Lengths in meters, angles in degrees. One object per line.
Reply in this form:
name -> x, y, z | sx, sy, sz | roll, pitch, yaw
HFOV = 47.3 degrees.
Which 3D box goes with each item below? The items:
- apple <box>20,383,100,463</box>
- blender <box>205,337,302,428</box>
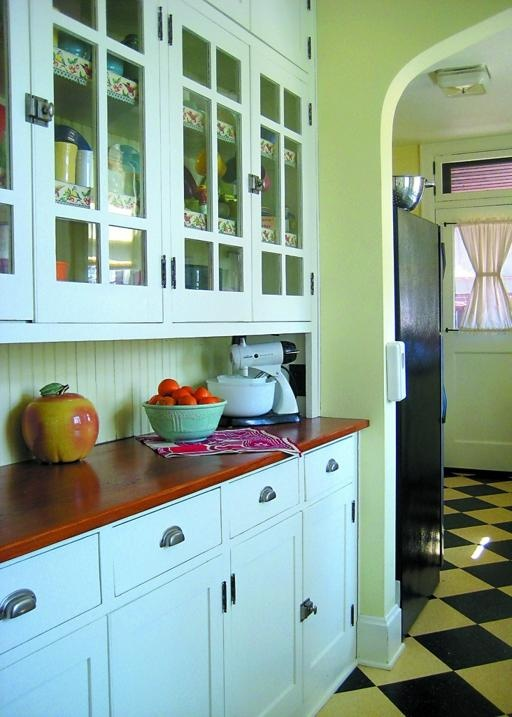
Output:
apple -> -0.449, 0.146, 1.349 | 0.154, 0.194, 0.159 | 4, 5, 38
blender -> 0.001, 0.078, 1.941 | 0.287, 0.270, 0.229 | -1, 0, -13
